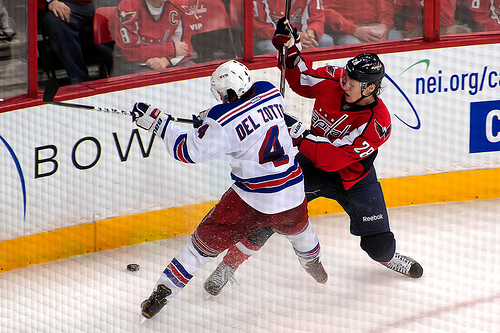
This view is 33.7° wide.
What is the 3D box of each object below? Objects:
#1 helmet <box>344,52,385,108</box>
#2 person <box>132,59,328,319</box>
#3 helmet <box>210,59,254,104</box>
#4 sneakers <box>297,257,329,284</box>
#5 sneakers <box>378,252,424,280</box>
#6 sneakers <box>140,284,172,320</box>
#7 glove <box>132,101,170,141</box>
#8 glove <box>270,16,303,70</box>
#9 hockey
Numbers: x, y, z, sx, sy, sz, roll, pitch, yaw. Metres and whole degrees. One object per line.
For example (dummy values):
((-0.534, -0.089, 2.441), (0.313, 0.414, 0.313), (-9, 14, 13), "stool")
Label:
((0.891, -0.698, 6.490), (0.325, 0.385, 0.328), (21, 33, 17), "helmet")
((-0.052, 0.212, 6.544), (1.632, 2.015, 0.912), (-6, 23, -22), "person")
((-0.130, -0.634, 6.193), (0.337, 0.272, 0.251), (0, 19, 28), "helmet")
((0.541, 0.841, 6.707), (0.128, 0.145, 0.348), (-30, 30, -3), "sneakers")
((1.225, 0.801, 6.945), (0.466, 0.143, 0.176), (19, 11, -2), "sneakers")
((-0.726, 1.046, 6.450), (0.309, 0.196, 0.083), (-44, 1, 0), "sneakers")
((-0.749, -0.365, 6.226), (0.354, 0.202, 0.125), (29, 14, 23), "glove")
((0.327, -1.022, 6.775), (0.252, 0.402, 0.172), (-11, 7, 28), "glove")
((-1.142, -0.550, 6.776), (1.407, 0.148, 0.178), (8, 39, -8), "hockey")
